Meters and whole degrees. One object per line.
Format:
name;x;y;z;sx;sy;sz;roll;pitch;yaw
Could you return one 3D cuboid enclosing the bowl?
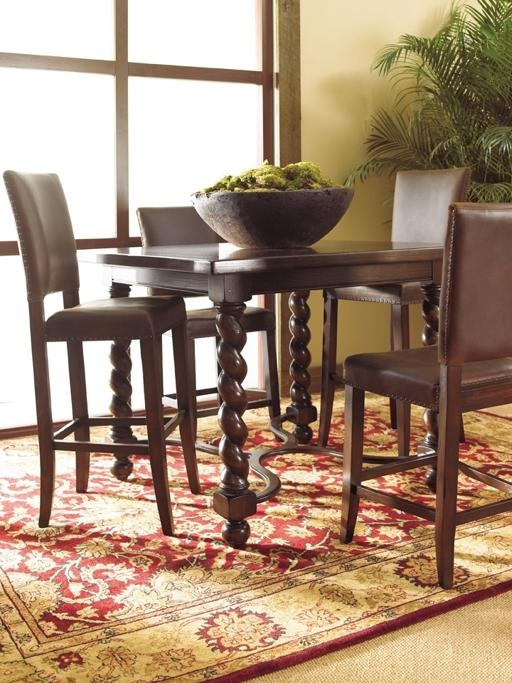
bowl;0.067;-0.366;2.083;0.520;0.155;0.482;-2;8;0
